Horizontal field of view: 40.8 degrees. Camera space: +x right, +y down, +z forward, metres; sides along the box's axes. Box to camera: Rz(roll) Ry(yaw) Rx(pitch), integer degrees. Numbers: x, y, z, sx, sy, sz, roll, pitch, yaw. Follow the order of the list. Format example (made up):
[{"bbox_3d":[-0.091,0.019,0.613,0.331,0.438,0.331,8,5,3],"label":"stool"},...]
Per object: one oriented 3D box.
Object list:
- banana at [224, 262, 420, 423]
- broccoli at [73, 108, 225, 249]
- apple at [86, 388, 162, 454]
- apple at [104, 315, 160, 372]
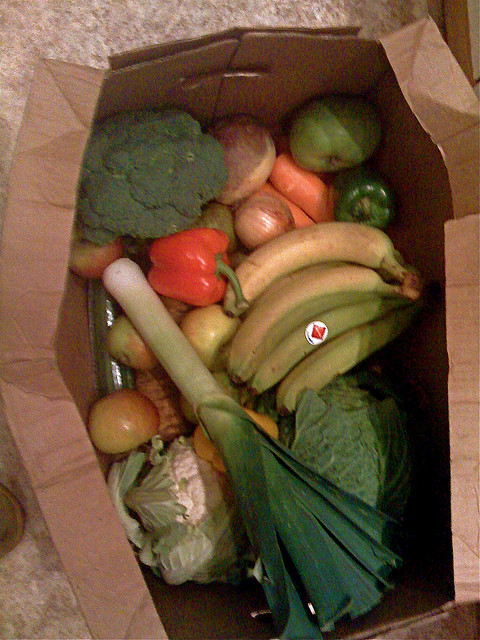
[{"bbox_3d":[0.121,0.046,1.059,0.220,0.098,0.391,12,29,26],"label":"banana"},{"bbox_3d":[-0.125,-0.192,0.938,0.181,0.130,0.217,18,84,1],"label":"broccoli"},{"bbox_3d":[-0.178,0.153,0.983,0.099,0.055,0.088,-23,85,-3],"label":"apple"},{"bbox_3d":[-0.174,0.044,1.015,0.056,0.042,0.088,-39,86,-4],"label":"apple"}]
